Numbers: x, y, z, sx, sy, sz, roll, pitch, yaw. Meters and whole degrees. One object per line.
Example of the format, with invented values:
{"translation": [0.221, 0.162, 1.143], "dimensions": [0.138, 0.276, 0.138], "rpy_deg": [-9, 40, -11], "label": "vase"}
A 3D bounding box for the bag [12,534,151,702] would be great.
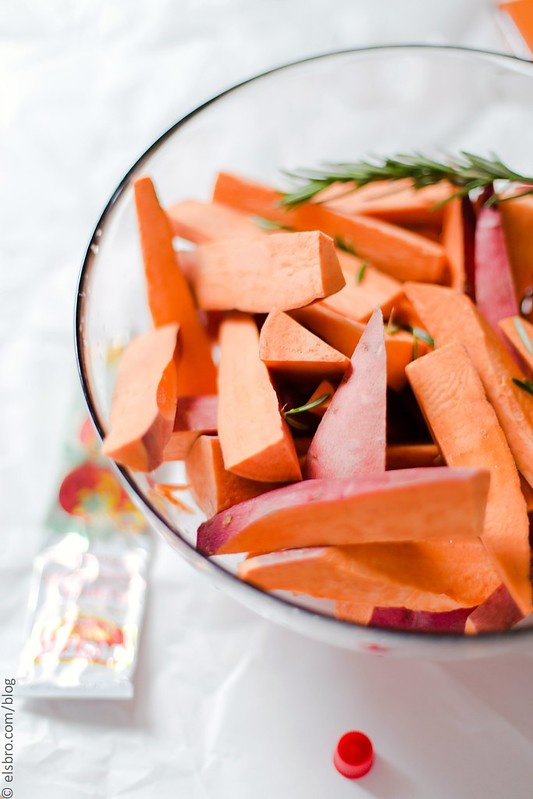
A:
{"translation": [-0.172, 0.202, 0.718], "dimensions": [0.114, 0.025, 0.153], "rpy_deg": [-5, 47, 10], "label": "bag"}
